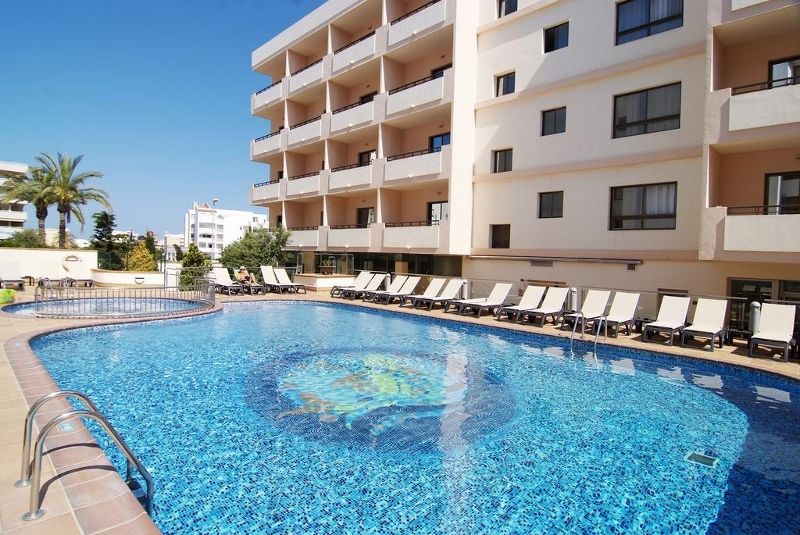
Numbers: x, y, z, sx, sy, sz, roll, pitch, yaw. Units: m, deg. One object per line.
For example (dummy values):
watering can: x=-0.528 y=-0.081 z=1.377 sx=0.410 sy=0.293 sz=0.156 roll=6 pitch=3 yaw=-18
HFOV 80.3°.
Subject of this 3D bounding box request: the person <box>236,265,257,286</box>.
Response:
person: x=-8.317 y=0.465 z=25.472 sx=0.802 sy=0.846 sz=1.545 roll=-10 pitch=8 yaw=-42
